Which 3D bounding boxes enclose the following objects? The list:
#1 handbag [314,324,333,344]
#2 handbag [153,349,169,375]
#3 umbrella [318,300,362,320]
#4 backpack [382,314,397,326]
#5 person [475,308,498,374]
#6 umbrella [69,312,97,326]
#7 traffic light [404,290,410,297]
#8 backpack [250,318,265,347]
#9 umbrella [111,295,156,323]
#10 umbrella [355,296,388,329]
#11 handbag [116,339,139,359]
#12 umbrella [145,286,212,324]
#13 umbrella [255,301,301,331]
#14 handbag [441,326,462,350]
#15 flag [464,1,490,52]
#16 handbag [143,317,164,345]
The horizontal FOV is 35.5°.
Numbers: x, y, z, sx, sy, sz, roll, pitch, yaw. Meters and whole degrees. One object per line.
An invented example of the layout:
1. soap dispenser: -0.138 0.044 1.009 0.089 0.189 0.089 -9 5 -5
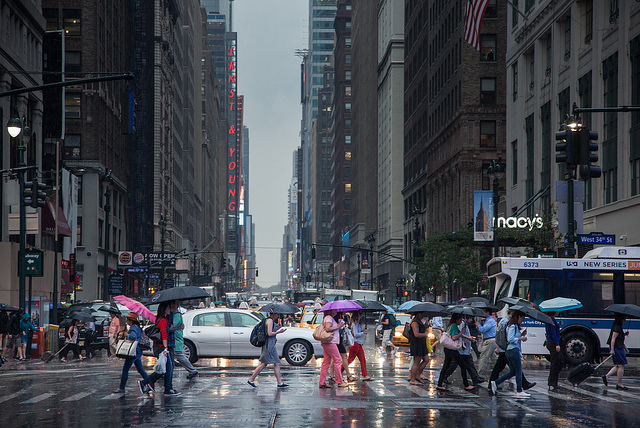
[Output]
1. handbag: 0.178 4.754 39.570 0.482 1.000 0.947 -2 4 -28
2. handbag: -6.075 5.657 38.170 0.448 0.842 0.273 0 -8 -10
3. umbrella: 0.829 3.674 40.385 0.596 0.438 2.310 -10 -13 43
4. backpack: 3.668 5.442 51.916 0.543 0.553 0.408 -20 7 -6
5. person: 6.964 5.348 42.447 0.865 2.768 0.987 0 0 22
6. umbrella: -11.680 4.965 49.102 1.140 0.481 1.321 1 -10 -16
7. traffic light: 6.996 6.434 81.588 0.238 0.509 0.490 -3 -2 45
8. backpack: -2.453 4.655 39.342 0.553 0.975 0.418 -2 -8 3
9. umbrella: -7.138 3.650 39.077 1.780 1.079 1.735 -3 -9 12
10. umbrella: 2.505 4.516 46.656 1.124 1.021 1.183 8 -9 2
11. handbag: -7.401 5.180 38.590 0.715 0.732 0.305 3 -20 4
12. umbrella: -5.765 3.442 39.826 2.196 1.509 2.320 4 16 45
13. umbrella: -1.723 4.106 40.608 0.943 0.610 0.936 -1 8 -35
14. handbag: 5.218 4.990 39.511 0.932 0.644 0.347 2 -9 -18
15. flag: 9.671 -12.068 62.739 1.264 3.588 3.988 -2 -9 7
16. handbag: -6.536 4.580 39.105 0.585 1.044 2.035 1 -10 -17
